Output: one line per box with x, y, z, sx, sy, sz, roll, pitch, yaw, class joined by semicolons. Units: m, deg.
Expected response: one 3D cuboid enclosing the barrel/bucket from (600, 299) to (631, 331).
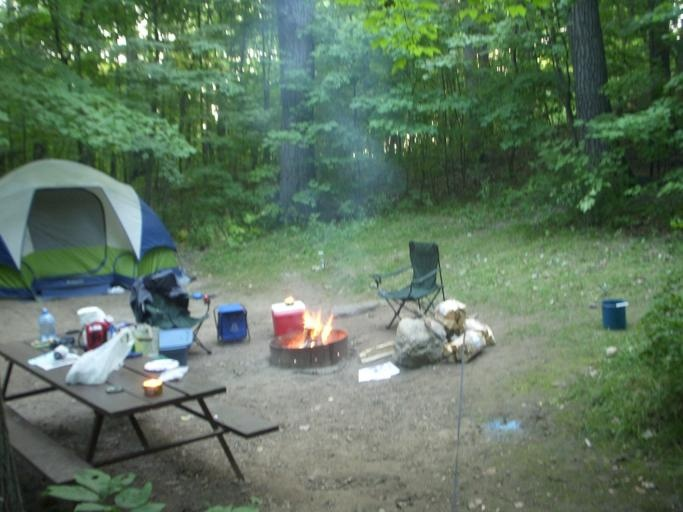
3.758;0.805;10.195;0.337;0.420;0.375;-2;-2;-4;barrel/bucket

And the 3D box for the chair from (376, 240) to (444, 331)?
1.110;0.528;11.834;0.986;1.401;1.147;-6;11;8;chair

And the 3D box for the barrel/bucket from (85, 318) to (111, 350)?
-3.016;0.989;9.165;0.275;0.564;0.290;0;-4;0;barrel/bucket

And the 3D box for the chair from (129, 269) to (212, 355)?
-2.537;0.912;11.024;0.932;1.322;1.084;2;14;20;chair

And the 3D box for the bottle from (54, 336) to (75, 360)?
-3.386;1.133;8.994;0.105;0.185;0.543;-1;6;-10;bottle
